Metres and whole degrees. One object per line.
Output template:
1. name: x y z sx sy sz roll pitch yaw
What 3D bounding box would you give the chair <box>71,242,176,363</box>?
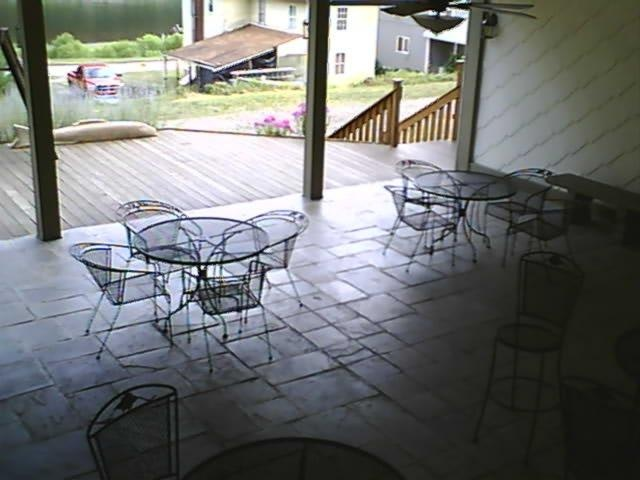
1. chair: -1.833 0.626 4.913 0.889 0.832 0.699 -16 41 -29

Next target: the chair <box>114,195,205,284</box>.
1. chair: -1.706 0.017 5.519 0.828 0.896 0.757 11 36 15

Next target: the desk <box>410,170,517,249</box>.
1. desk: 1.658 -0.289 6.802 1.457 0.810 1.248 9 29 17

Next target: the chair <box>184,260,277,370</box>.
1. chair: -0.739 0.587 4.636 0.806 0.813 0.743 0 19 28

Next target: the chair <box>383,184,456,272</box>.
1. chair: 1.270 -0.120 6.532 0.877 0.954 0.836 -16 34 -14

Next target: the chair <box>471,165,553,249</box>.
1. chair: 2.545 -0.404 6.871 0.902 1.030 0.896 -17 39 -23

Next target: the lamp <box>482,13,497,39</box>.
1. lamp: 2.632 -3.307 8.032 0.247 0.323 0.351 6 16 18
